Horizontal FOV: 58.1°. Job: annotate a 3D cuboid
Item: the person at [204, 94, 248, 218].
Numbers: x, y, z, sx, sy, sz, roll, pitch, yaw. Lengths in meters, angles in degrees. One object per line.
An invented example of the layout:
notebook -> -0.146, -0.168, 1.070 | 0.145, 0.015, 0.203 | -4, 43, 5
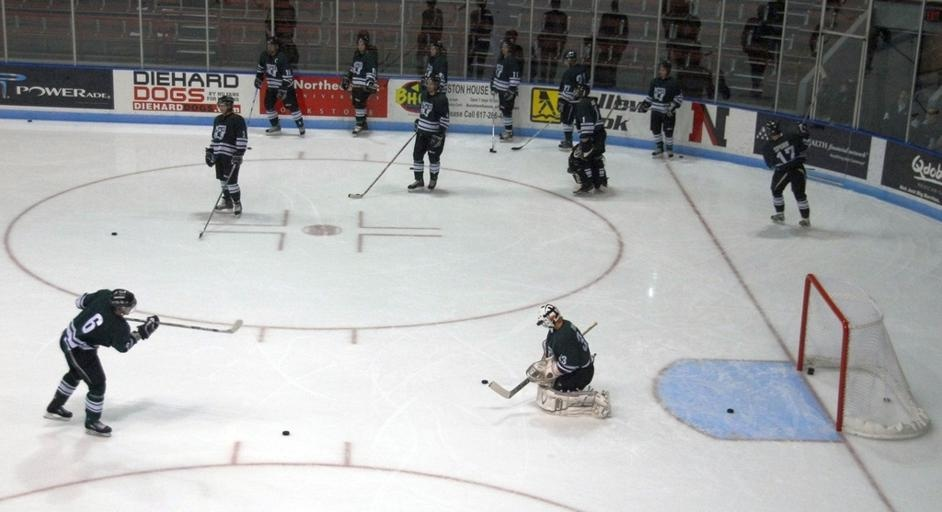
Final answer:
person -> -4.784, -1.991, 16.645 | 0.773, 2.268, 1.062 | -5, 22, -15

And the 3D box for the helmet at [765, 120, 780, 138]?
helmet -> 6.078, -2.532, 17.000 | 0.231, 0.311, 0.371 | 2, 19, 2

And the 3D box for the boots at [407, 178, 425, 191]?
boots -> -1.175, -1.531, 18.388 | 0.398, 0.150, 0.190 | -2, 25, -8

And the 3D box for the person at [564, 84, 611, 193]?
person -> 2.528, -2.399, 18.450 | 0.852, 2.020, 0.739 | -14, 26, -35

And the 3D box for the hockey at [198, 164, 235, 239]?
hockey -> -5.025, -1.027, 16.808 | 0.104, 0.316, 1.982 | 18, 60, 9

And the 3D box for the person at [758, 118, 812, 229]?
person -> 6.478, -1.699, 17.219 | 1.096, 2.030, 0.996 | 7, 22, 16

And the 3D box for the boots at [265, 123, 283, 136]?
boots -> -5.109, -3.238, 21.915 | 0.418, 0.166, 0.192 | -1, 50, 7

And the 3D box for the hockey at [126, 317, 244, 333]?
hockey -> -4.290, 1.047, 12.712 | 1.034, 0.294, 0.039 | 6, 47, -6

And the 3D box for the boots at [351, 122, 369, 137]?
boots -> -2.924, -3.299, 22.281 | 0.220, 0.265, 0.655 | 2, 8, 11

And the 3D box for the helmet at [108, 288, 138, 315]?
helmet -> -4.696, 0.593, 11.356 | 0.414, 0.368, 0.288 | -1, 52, -43

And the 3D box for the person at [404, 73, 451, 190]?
person -> -0.926, -2.666, 18.478 | 0.838, 2.351, 1.198 | 0, 21, -2

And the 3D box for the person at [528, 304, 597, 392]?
person -> 1.318, 1.491, 12.214 | 1.073, 1.482, 0.866 | -8, 18, -8

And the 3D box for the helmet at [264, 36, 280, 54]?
helmet -> -5.004, -5.305, 21.446 | 0.319, 0.432, 0.327 | -3, 20, -10

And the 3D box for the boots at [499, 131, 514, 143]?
boots -> 0.966, -3.119, 22.209 | 0.466, 0.261, 0.202 | 5, 26, 4

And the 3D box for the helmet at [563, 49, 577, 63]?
helmet -> 2.539, -4.951, 21.229 | 0.257, 0.305, 0.578 | 2, 18, 3

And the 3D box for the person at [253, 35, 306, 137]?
person -> -4.929, -4.359, 21.795 | 1.240, 2.449, 0.961 | -1, 21, -5

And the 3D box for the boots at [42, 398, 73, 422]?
boots -> -5.635, 2.127, 11.567 | 0.473, 0.380, 0.213 | 0, 26, -22

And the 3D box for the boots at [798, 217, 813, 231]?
boots -> 6.830, -0.618, 17.034 | 0.186, 0.237, 0.287 | -9, 26, -17

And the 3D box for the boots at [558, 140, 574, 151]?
boots -> 2.407, -2.811, 21.668 | 0.193, 0.312, 0.357 | -21, 35, -34

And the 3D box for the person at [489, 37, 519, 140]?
person -> 0.921, -4.281, 22.041 | 0.758, 2.524, 0.703 | 1, 21, 1

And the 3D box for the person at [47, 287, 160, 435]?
person -> -5.131, 1.564, 11.833 | 1.365, 2.009, 0.887 | 5, 45, -37

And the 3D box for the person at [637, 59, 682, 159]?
person -> 4.754, -3.586, 20.902 | 0.827, 2.340, 0.424 | 14, 25, 30

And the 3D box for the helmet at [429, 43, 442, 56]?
helmet -> -0.859, -5.263, 21.634 | 0.286, 0.309, 0.533 | 1, 18, -1

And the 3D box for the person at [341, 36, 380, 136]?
person -> -2.869, -4.427, 22.075 | 0.897, 2.516, 0.853 | -1, 21, -6
